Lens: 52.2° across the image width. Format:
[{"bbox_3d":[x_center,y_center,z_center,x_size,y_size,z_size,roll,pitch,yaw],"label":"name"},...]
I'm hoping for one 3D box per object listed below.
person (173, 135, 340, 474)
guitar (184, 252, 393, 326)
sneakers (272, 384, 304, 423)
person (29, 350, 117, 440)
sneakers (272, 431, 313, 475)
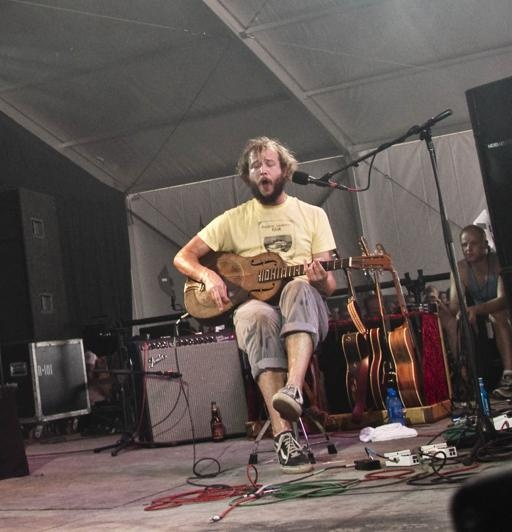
[{"bbox_3d":[-0.016,0.144,2.567,0.780,1.688,0.652,0,-44,-12],"label":"person"},{"bbox_3d":[0.128,0.095,2.729,1.096,0.394,0.144,-8,-25,14],"label":"guitar"},{"bbox_3d":[0.122,0.530,2.019,0.074,0.072,0.179,18,-35,19],"label":"sneakers"},{"bbox_3d":[-1.775,1.450,5.682,1.040,1.215,0.352,10,-24,-41],"label":"person"},{"bbox_3d":[0.140,0.720,2.018,0.118,0.147,0.124,-9,-8,-6],"label":"sneakers"}]
